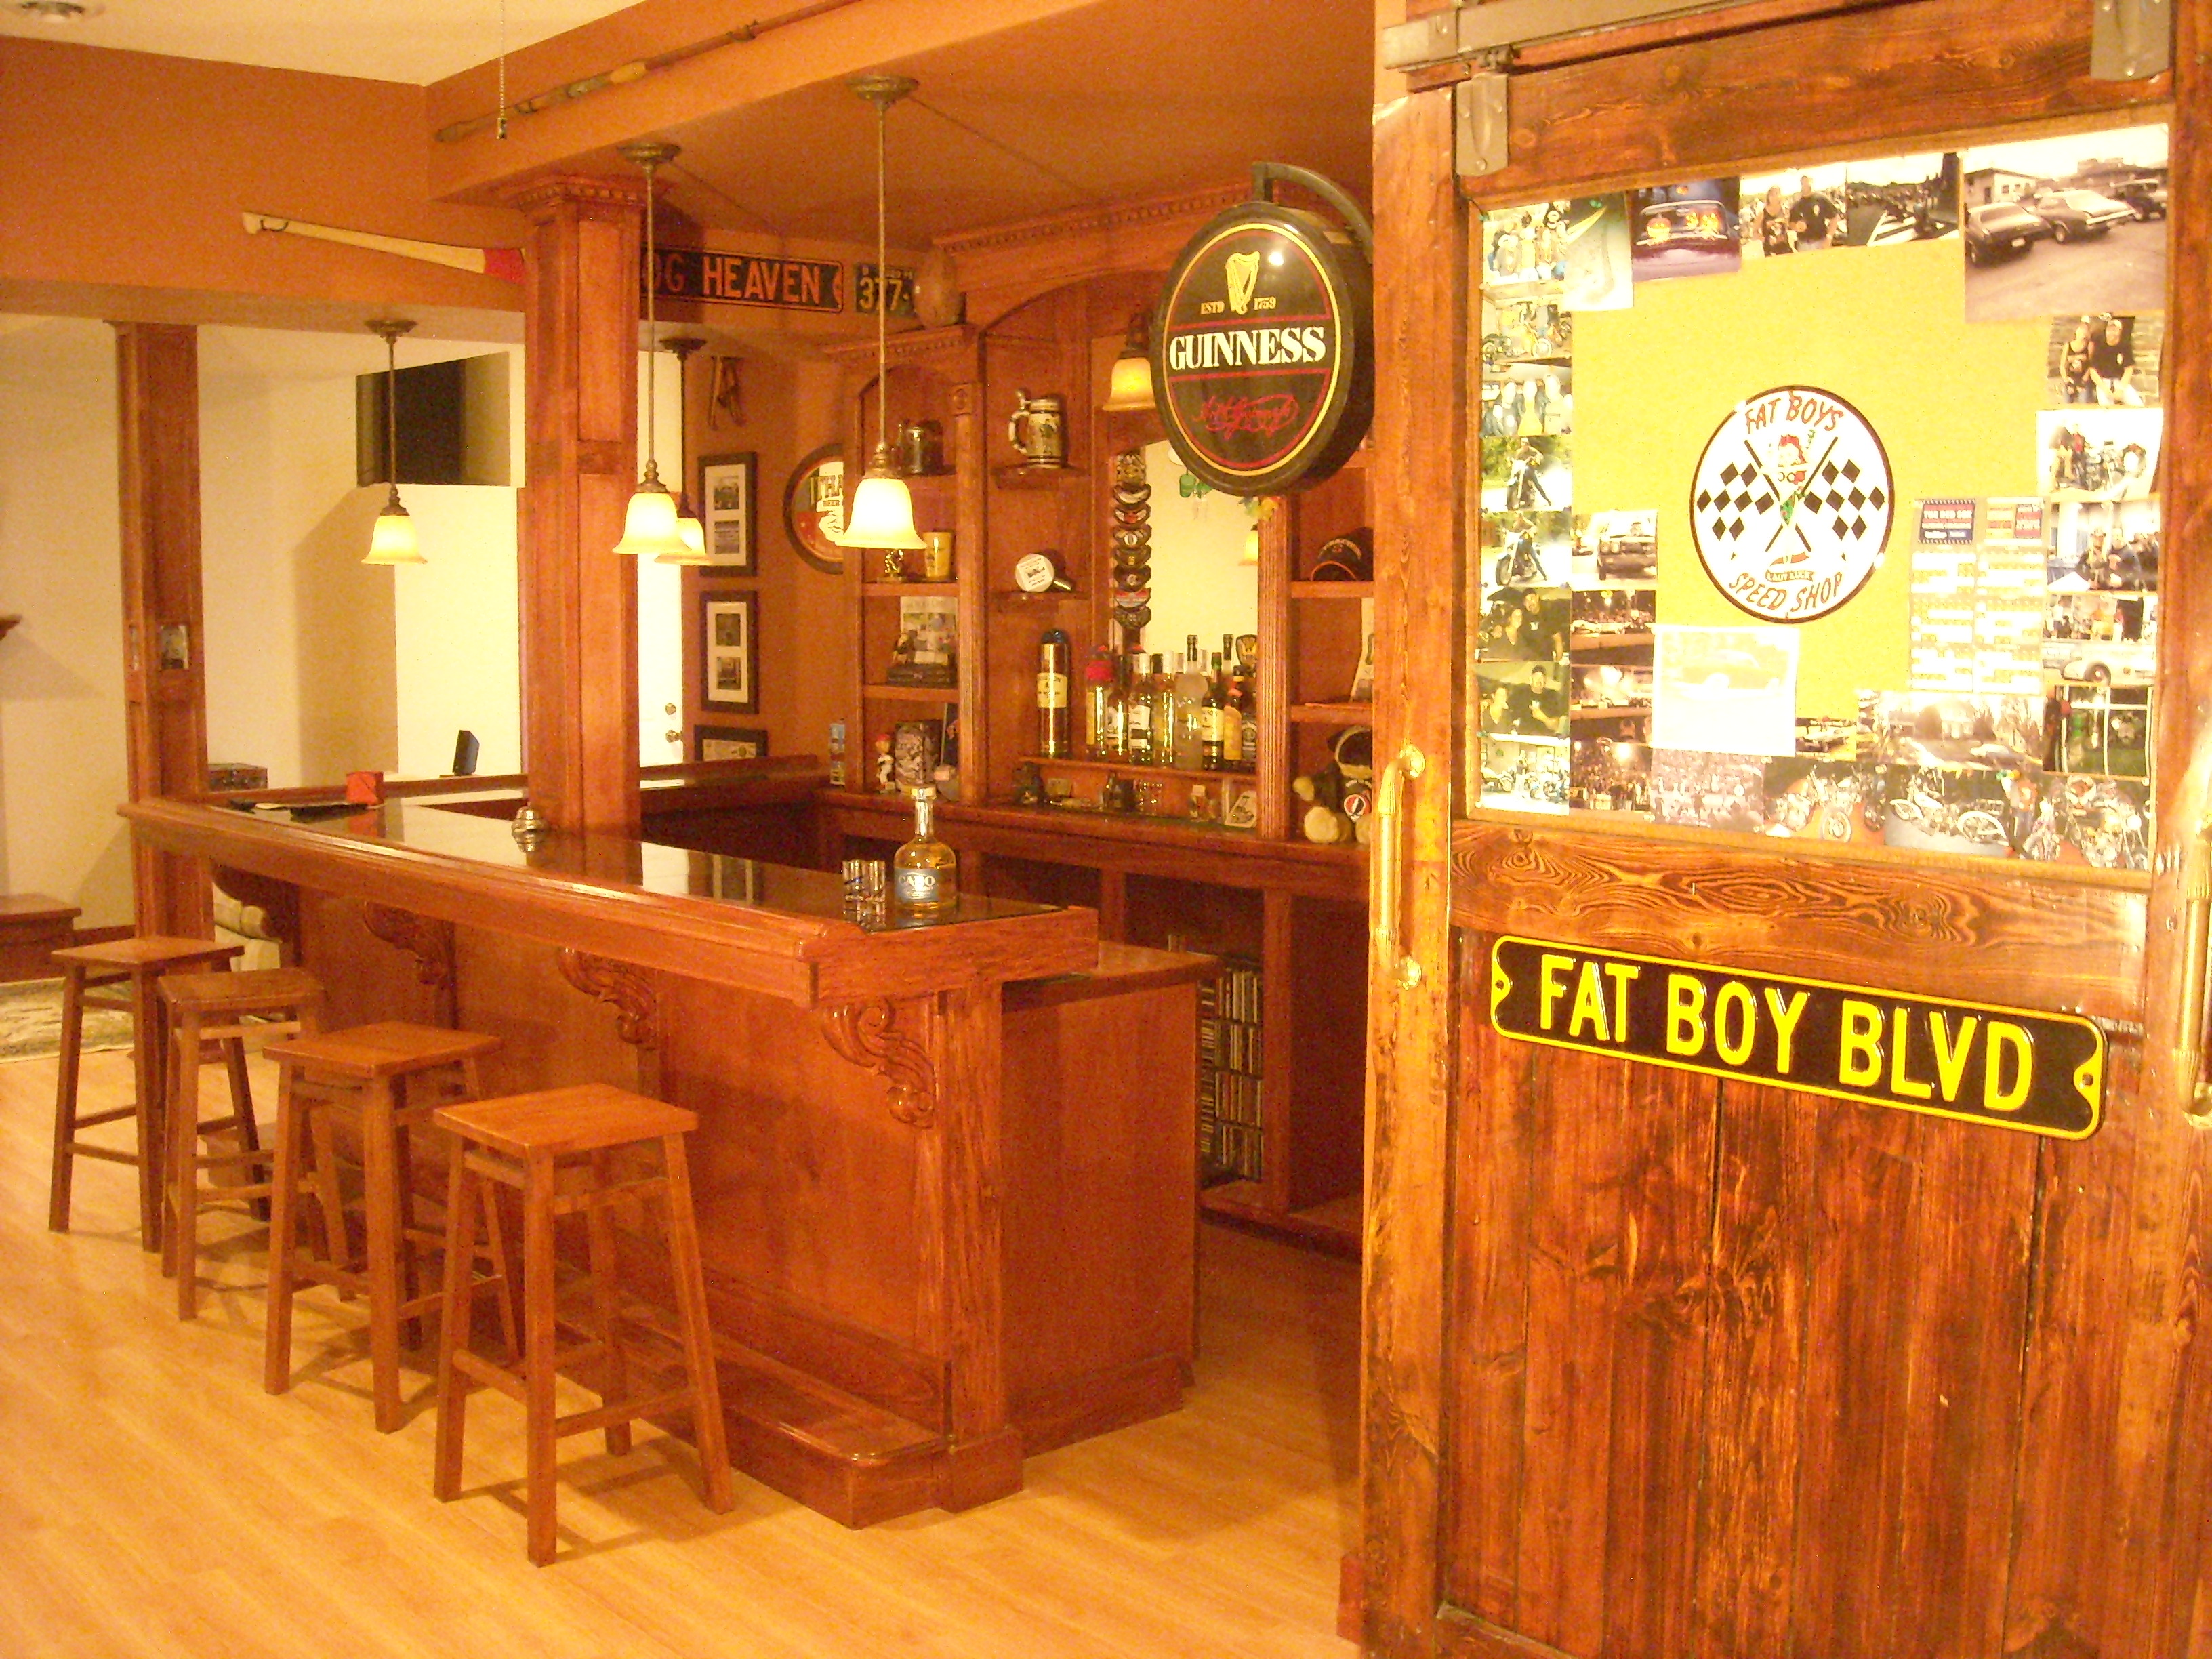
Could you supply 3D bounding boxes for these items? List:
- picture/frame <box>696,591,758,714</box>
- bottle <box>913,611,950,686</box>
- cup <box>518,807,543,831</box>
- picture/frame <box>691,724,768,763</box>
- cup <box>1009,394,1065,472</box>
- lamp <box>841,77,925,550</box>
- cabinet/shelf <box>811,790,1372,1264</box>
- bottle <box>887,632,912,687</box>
[{"bbox_3d":[-1.975,-0.952,9.422,0.057,0.754,0.628,-3,6,-42],"label":"picture/frame"},{"bbox_3d":[-0.725,-0.765,7.539,0.169,0.307,0.298,2,6,-29],"label":"bottle"},{"bbox_3d":[-1.792,-0.033,5.545,0.076,0.074,0.111,1,1,-4],"label":"cup"},{"bbox_3d":[-2.004,-0.471,9.464,0.160,0.178,0.620,-6,10,-39],"label":"picture/frame"},{"bbox_3d":[-0.265,-1.524,6.810,0.223,0.291,0.148,1,8,11],"label":"cup"},{"bbox_3d":[-0.619,-1.432,5.049,0.304,1.266,0.292,-3,21,-14],"label":"lamp"},{"bbox_3d":[0.381,0.621,6.295,0.504,1.292,1.620,-7,10,-41],"label":"cabinet/shelf"},{"bbox_3d":[-0.864,-0.721,7.613,0.173,0.159,0.040,4,-2,45],"label":"bottle"}]
